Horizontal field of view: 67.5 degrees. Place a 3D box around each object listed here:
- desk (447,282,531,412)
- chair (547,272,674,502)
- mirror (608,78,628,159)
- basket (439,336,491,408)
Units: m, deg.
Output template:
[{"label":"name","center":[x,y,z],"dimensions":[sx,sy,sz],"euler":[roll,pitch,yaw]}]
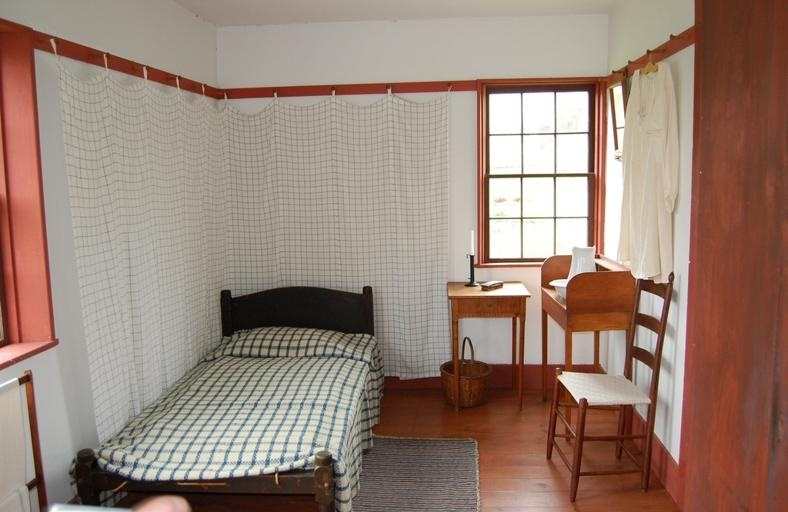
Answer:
[{"label":"desk","center":[0.792,0.724,4.928],"dimensions":[0.694,0.955,0.662],"euler":[0,14,5]},{"label":"chair","center":[1.426,0.731,4.007],"dimensions":[0.732,1.383,1.126],"euler":[1,14,8]},{"label":"mirror","center":[1.775,-1.012,4.661],"dimensions":[0.048,0.619,0.342],"euler":[0,17,37]},{"label":"basket","center":[0.609,0.929,4.909],"dimensions":[0.399,0.534,0.415],"euler":[12,18,43]}]
